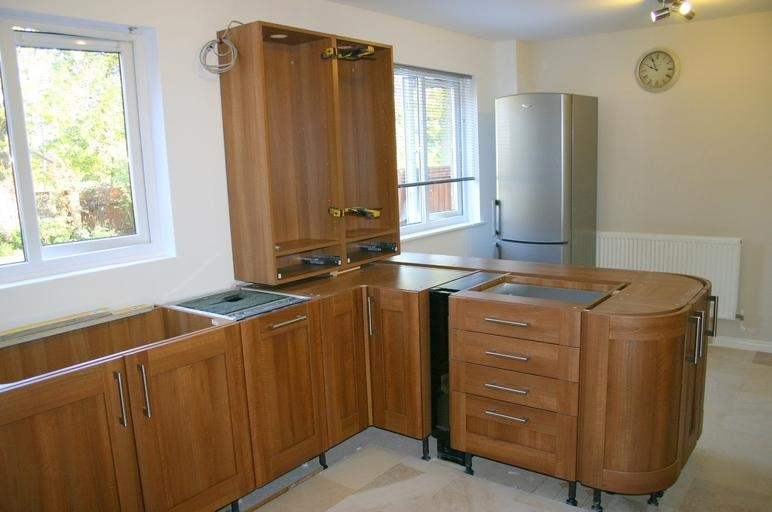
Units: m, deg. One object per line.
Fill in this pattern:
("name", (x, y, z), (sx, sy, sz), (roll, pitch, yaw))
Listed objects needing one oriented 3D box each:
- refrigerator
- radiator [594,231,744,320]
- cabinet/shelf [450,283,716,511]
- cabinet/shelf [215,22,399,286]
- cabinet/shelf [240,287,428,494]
("refrigerator", (1.519, -0.683, 5.426), (0.977, 1.678, 0.585), (-2, 15, 10))
("radiator", (2.235, 0.136, 4.346), (1.000, 0.476, 0.094), (4, 10, 31))
("cabinet/shelf", (1.122, 0.637, 3.695), (1.796, 1.215, 1.403), (4, 10, 35))
("cabinet/shelf", (-0.472, -0.685, 3.869), (1.287, 1.615, 0.497), (-16, 19, -42))
("cabinet/shelf", (-0.328, 0.790, 3.443), (0.897, 1.019, 1.234), (6, 12, 36))
